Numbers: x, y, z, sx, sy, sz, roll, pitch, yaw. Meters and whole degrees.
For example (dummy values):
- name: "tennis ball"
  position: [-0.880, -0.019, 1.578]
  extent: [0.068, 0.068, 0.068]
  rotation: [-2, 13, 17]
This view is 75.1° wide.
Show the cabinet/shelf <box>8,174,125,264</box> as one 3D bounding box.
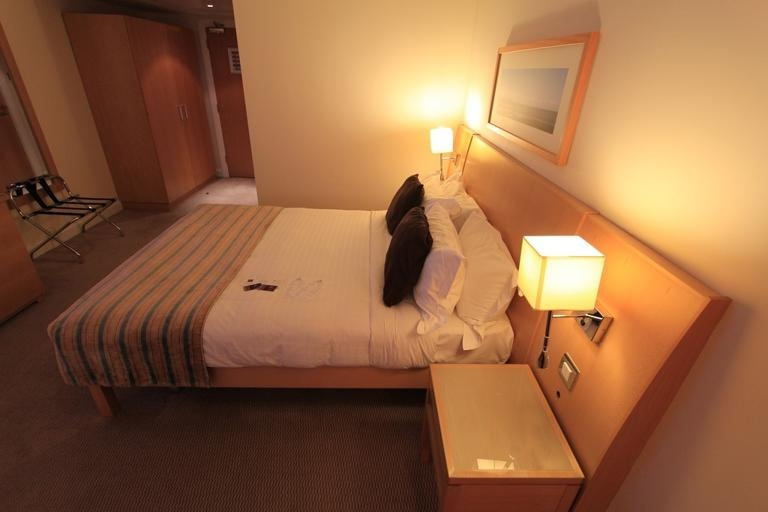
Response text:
- name: "cabinet/shelf"
  position: [-3.145, -0.313, 5.143]
  extent: [0.755, 0.872, 0.984]
  rotation: [4, 28, -11]

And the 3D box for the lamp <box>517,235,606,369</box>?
- name: "lamp"
  position: [0.921, 0.261, 2.630]
  extent: [0.441, 0.714, 0.316]
  rotation: [5, 23, 4]

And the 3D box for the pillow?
- name: "pillow"
  position: [0.487, 0.057, 3.342]
  extent: [0.482, 0.465, 1.203]
  rotation: [-12, 24, 2]

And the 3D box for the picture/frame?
- name: "picture/frame"
  position: [1.005, -1.052, 3.258]
  extent: [0.141, 0.740, 0.893]
  rotation: [-5, 24, -17]

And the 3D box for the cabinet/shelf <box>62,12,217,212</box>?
- name: "cabinet/shelf"
  position: [-2.856, -1.664, 5.700]
  extent: [0.740, 2.233, 1.961]
  rotation: [1, 27, 2]
